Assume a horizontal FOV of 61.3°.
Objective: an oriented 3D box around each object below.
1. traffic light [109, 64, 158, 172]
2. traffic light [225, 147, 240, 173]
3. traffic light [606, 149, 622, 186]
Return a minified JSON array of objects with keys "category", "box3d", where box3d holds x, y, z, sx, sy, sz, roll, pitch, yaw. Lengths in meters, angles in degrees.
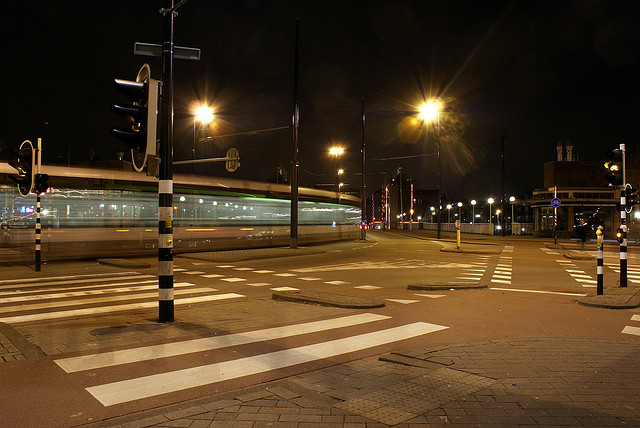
[{"category":"traffic light","box3d":[-3.903,-1.909,11.412,0.886,1.940,0.695,-1,7,-8]},{"category":"traffic light","box3d":[-3.623,-2.247,22.090,0.543,0.929,2.140,-1,7,-10]},{"category":"traffic light","box3d":[9.168,-1.474,16.846,0.271,1.130,0.555,-11,8,-42]}]
